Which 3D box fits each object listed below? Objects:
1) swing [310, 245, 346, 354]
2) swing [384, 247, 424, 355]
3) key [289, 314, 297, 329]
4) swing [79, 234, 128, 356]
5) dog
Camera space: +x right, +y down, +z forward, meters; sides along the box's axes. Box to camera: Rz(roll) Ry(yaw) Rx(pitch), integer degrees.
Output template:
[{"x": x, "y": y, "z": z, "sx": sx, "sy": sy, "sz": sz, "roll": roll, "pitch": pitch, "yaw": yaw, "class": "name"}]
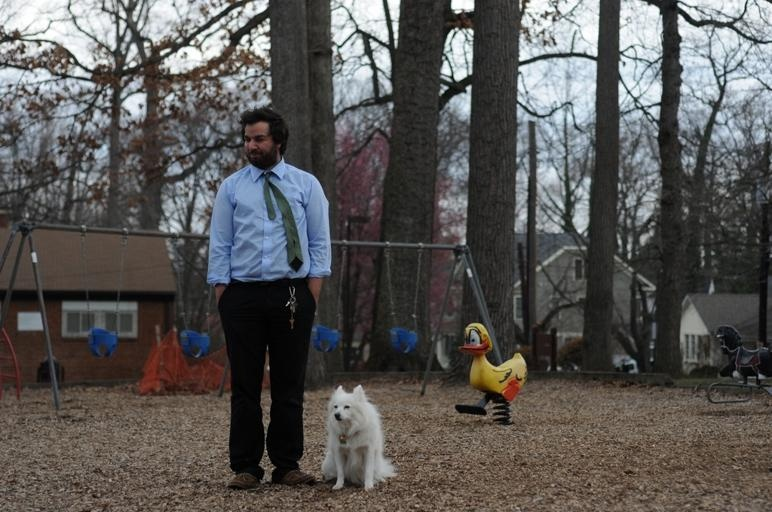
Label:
[{"x": -1.348, "y": 1.077, "z": 37.500, "sx": 0.658, "sy": 2.542, "sz": 0.649, "roll": -2, "pitch": 4, "yaw": 4, "class": "swing"}, {"x": 0.447, "y": 1.063, "z": 38.932, "sx": 0.814, "sy": 2.978, "sz": 0.564, "roll": 2, "pitch": 24, "yaw": 6, "class": "swing"}, {"x": -1.833, "y": 1.335, "z": 31.988, "sx": 0.108, "sy": 0.237, "sz": 0.036, "roll": 2, "pitch": -5, "yaw": -9, "class": "key"}, {"x": -6.493, "y": 1.534, "z": 37.493, "sx": 1.015, "sy": 4.038, "sz": 0.923, "roll": 0, "pitch": 0, "yaw": 1, "class": "swing"}, {"x": -0.567, "y": 3.683, "z": 32.735, "sx": 1.476, "sy": 2.092, "sz": 1.890, "roll": -1, "pitch": 0, "yaw": 10, "class": "dog"}]
